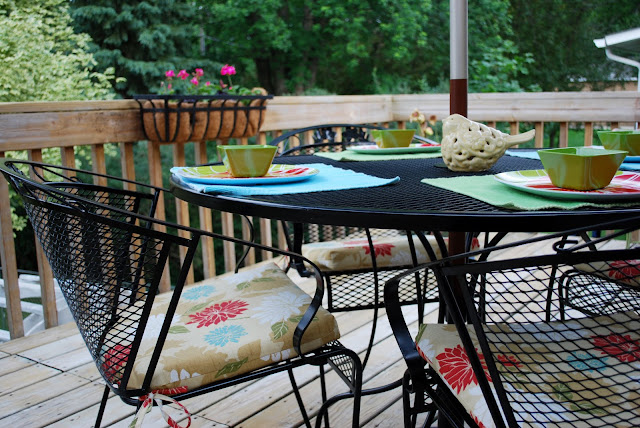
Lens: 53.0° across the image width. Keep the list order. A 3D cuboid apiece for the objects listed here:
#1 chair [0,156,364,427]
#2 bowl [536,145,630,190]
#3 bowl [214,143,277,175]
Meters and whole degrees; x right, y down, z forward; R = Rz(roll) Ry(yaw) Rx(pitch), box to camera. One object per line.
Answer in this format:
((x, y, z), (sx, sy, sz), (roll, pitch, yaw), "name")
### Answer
((-0.377, 0.113, 2.034), (1.015, 0.861, 0.869), (-1, 12, -15), "chair")
((0.643, -0.112, 1.595), (0.149, 0.085, 0.191), (-6, 11, -19), "bowl")
((-0.204, -0.149, 1.806), (0.152, 0.090, 0.186), (-2, 10, -12), "bowl")
